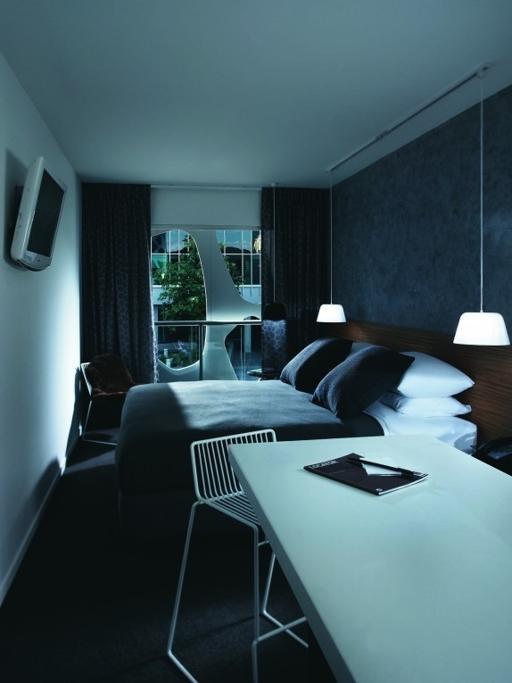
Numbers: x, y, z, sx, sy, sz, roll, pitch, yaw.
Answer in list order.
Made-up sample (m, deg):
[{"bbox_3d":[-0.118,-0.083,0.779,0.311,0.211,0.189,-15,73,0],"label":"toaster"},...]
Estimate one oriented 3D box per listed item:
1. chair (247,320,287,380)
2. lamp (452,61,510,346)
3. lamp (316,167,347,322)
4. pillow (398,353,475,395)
[{"bbox_3d":[0.124,0.169,5.740,0.454,0.873,0.512,-1,-32,4],"label":"chair"},{"bbox_3d":[1.154,-0.638,2.598,0.260,1.376,0.849,1,3,22],"label":"lamp"},{"bbox_3d":[0.664,-0.754,4.333,0.242,1.217,0.257,8,9,39],"label":"lamp"},{"bbox_3d":[1.014,0.118,2.961,0.205,0.105,0.358,-7,14,-7],"label":"pillow"}]
